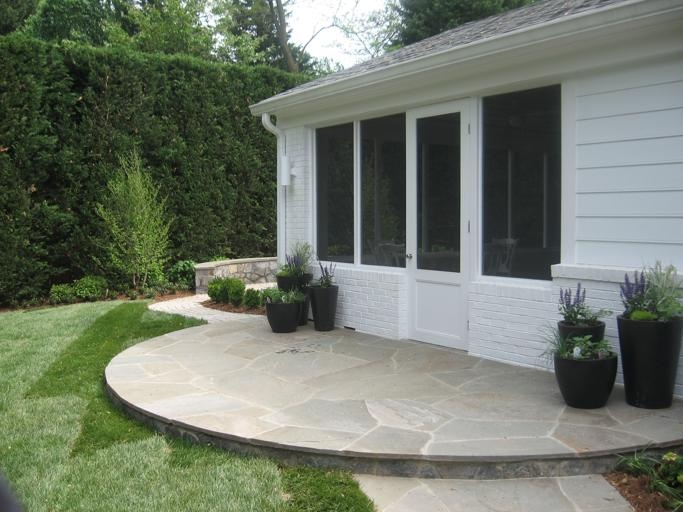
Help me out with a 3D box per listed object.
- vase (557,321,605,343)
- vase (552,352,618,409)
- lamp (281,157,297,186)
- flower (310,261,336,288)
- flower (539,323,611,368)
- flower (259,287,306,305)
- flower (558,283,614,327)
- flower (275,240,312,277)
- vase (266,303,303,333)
[{"bbox_3d":[2.299,0.712,5.472,0.268,0.177,0.263,-1,2,-8],"label":"vase"},{"bbox_3d":[2.241,1.114,5.240,0.542,0.396,0.552,-2,-8,11],"label":"vase"},{"bbox_3d":[-0.865,-1.372,9.259,0.282,0.489,0.242,-4,10,-4],"label":"lamp"},{"bbox_3d":[-0.303,0.273,8.670,0.330,0.482,0.383,-4,-7,35],"label":"flower"},{"bbox_3d":[2.311,0.792,5.468,0.458,0.285,0.438,9,-13,-36],"label":"flower"},{"bbox_3d":[-0.842,0.599,8.304,0.590,0.219,0.515,-1,9,9],"label":"flower"},{"bbox_3d":[2.428,0.518,5.751,0.527,0.345,0.425,3,10,24],"label":"flower"},{"bbox_3d":[-0.617,0.035,8.985,0.354,0.447,0.316,-1,-7,28],"label":"flower"},{"bbox_3d":[-0.840,0.870,8.106,0.457,0.334,0.469,0,-3,-2],"label":"vase"}]
